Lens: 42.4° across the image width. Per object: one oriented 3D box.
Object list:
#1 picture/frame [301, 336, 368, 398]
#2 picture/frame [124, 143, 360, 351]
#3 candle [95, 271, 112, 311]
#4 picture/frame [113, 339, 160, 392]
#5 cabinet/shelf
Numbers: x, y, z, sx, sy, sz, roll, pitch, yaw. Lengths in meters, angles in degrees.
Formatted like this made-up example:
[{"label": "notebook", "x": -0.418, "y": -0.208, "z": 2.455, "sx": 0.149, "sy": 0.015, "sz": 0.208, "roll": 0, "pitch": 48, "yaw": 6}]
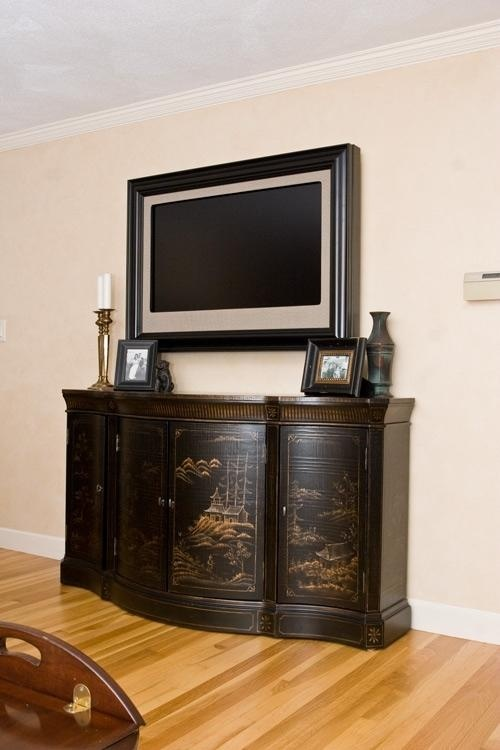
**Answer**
[{"label": "picture/frame", "x": 0.335, "y": -0.026, "z": 2.512, "sx": 0.248, "sy": 0.216, "sz": 0.028, "roll": -1, "pitch": -20, "yaw": 38}, {"label": "picture/frame", "x": -0.079, "y": -0.544, "z": 2.996, "sx": 1.142, "sy": 0.818, "sz": 0.118, "roll": 1, "pitch": 1, "yaw": 27}, {"label": "candle", "x": -0.774, "y": -0.424, "z": 3.401, "sx": 0.080, "sy": 0.210, "sz": 0.287, "roll": 2, "pitch": -4, "yaw": -14}, {"label": "picture/frame", "x": -0.524, "y": -0.039, "z": 2.991, "sx": 0.232, "sy": 0.274, "sz": 0.028, "roll": -3, "pitch": -16, "yaw": 20}, {"label": "cabinet/shelf", "x": -0.001, "y": 0.567, "z": 2.501, "sx": 0.940, "sy": 0.580, "sz": 0.309, "roll": 0, "pitch": -2, "yaw": 27}]
